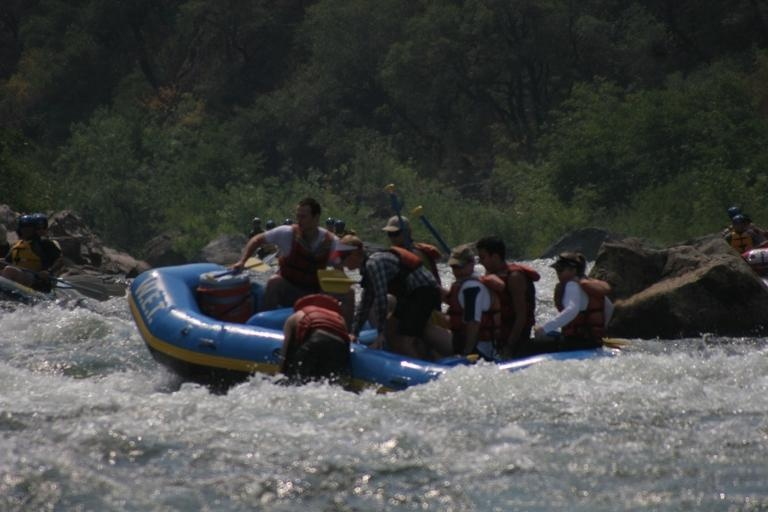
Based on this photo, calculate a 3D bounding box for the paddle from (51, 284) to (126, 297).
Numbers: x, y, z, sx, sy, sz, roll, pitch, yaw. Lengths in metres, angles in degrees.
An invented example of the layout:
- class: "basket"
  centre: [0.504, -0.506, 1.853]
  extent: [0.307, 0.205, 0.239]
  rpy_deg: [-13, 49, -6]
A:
- class: "paddle"
  centre: [-12.590, 1.631, 63.381]
  extent: [2.706, 0.271, 0.742]
  rpy_deg: [6, 43, 0]
